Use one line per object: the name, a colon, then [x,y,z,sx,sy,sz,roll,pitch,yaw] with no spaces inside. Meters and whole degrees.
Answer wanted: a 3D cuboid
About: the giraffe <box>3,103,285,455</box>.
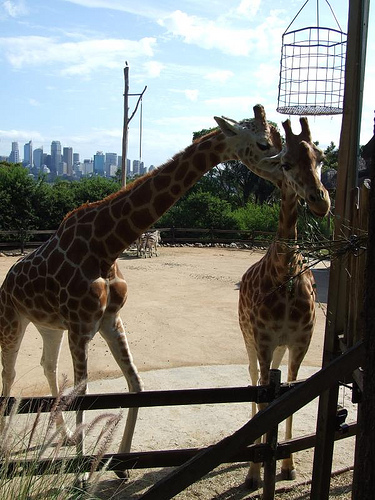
giraffe: [-0.489,0.027,3.981,1.974,2.275,0.891,3,4,5]
